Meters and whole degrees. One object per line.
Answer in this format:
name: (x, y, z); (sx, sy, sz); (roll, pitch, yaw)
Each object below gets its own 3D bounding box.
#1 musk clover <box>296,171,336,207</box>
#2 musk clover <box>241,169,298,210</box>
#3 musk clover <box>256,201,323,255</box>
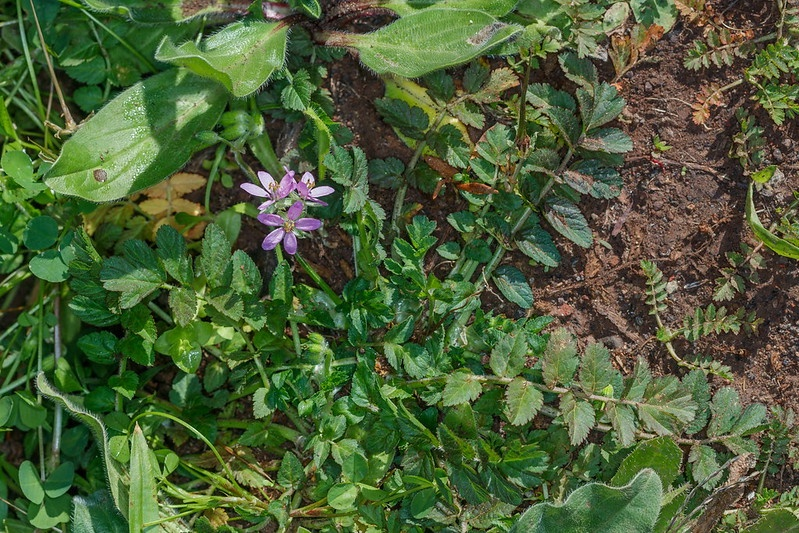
musk clover: (-0.377, -0.352, 3.030); (0.148, 0.066, 0.158); (4, 47, -43)
musk clover: (-0.551, -0.326, 3.035); (0.248, 0.271, 0.130); (0, 81, -3)
musk clover: (-0.477, -0.169, 2.968); (0.254, 0.146, 0.173); (-12, 66, -16)
